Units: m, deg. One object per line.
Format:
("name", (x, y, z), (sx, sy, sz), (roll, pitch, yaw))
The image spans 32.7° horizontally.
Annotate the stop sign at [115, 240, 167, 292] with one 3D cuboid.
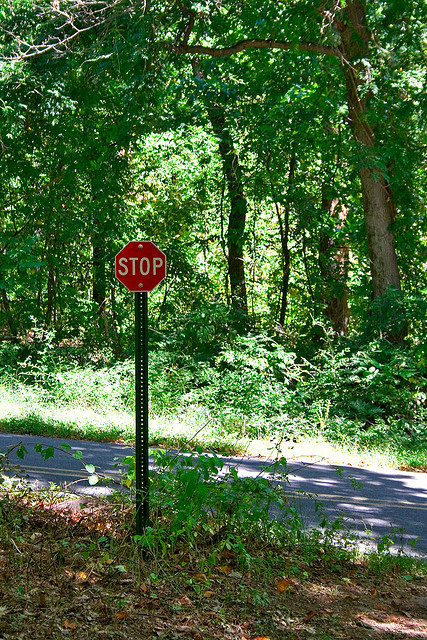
("stop sign", (-0.540, -0.393, 5.277), (0.442, 0.365, 0.057), (-4, 7, -38))
